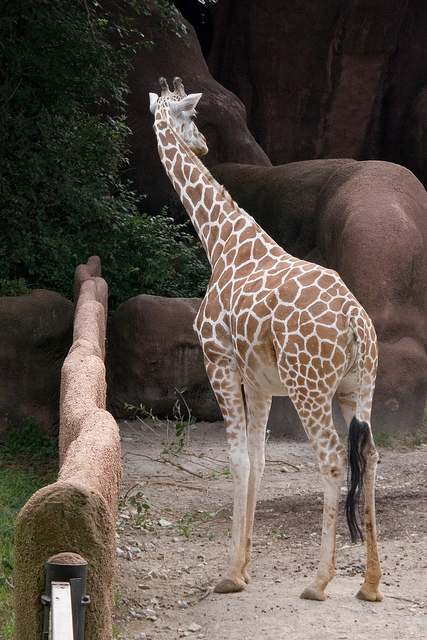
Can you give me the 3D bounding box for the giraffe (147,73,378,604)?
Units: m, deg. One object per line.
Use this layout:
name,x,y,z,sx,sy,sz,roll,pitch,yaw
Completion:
giraffe,0.235,0.216,4.576,0.706,2.296,1.771,-4,7,-24
